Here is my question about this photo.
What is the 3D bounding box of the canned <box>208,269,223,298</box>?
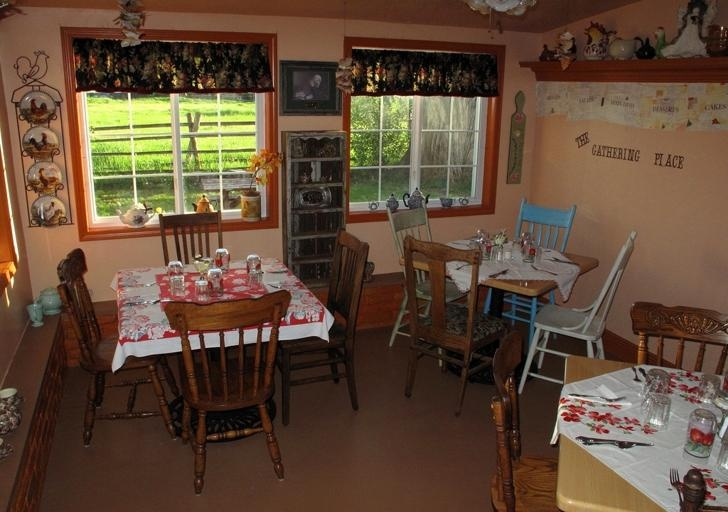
[{"bbox_3d":[-1.031,0.173,3.372,0.096,0.167,0.191,-6,14,-17],"label":"canned"}]

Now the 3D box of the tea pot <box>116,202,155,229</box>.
[{"bbox_3d":[-2.148,-0.427,4.589,0.335,0.236,0.235,1,17,-4],"label":"tea pot"}]

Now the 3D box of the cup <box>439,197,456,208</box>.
[{"bbox_3d":[0.921,-0.603,5.472,0.127,0.086,0.113,-2,7,-22],"label":"cup"}]

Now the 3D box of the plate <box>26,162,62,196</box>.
[{"bbox_3d":[-2.709,-0.668,4.140,0.283,0.270,0.093,-11,17,-34],"label":"plate"}]

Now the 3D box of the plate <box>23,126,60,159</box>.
[{"bbox_3d":[-2.702,-0.951,4.087,0.274,0.262,0.093,-11,17,-34],"label":"plate"}]

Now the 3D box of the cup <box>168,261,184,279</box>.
[{"bbox_3d":[-1.348,0.093,3.505,0.128,0.146,0.128,1,0,0],"label":"cup"}]

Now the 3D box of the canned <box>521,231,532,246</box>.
[{"bbox_3d":[1.427,-0.150,4.322,0.071,0.117,0.116,11,18,13],"label":"canned"}]

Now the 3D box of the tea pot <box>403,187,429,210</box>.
[{"bbox_3d":[0.536,-0.623,5.274,0.330,0.249,0.213,1,12,7],"label":"tea pot"}]

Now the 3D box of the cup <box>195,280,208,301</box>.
[{"bbox_3d":[-1.092,0.225,3.286,0.081,0.122,0.132,-6,14,-19],"label":"cup"}]
